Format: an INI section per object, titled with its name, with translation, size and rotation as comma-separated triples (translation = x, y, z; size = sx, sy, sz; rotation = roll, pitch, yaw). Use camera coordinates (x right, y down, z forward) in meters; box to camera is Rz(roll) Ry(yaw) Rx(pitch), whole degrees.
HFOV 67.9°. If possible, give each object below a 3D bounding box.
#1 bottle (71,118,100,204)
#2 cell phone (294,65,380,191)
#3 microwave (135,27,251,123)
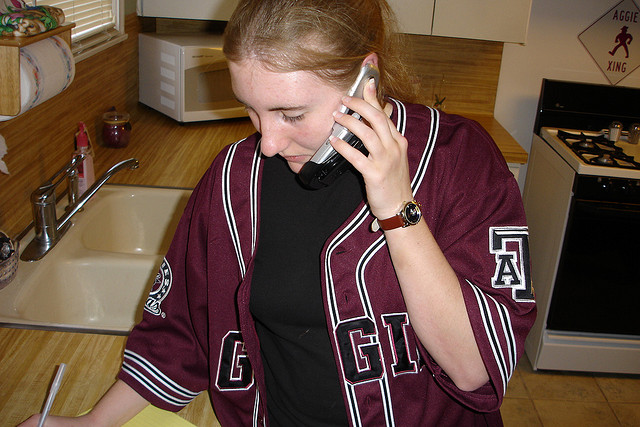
[bottle]
translation = -1.015, -0.216, 2.033
size = 0.089, 0.306, 0.091
rotation = 10, 29, -5
[cell phone]
translation = 0.038, -0.171, 1.019
size = 0.167, 0.277, 0.094
rotation = 2, 24, 0
[microwave]
translation = -0.725, -0.743, 2.901
size = 0.723, 0.588, 0.711
rotation = 27, 35, 37
